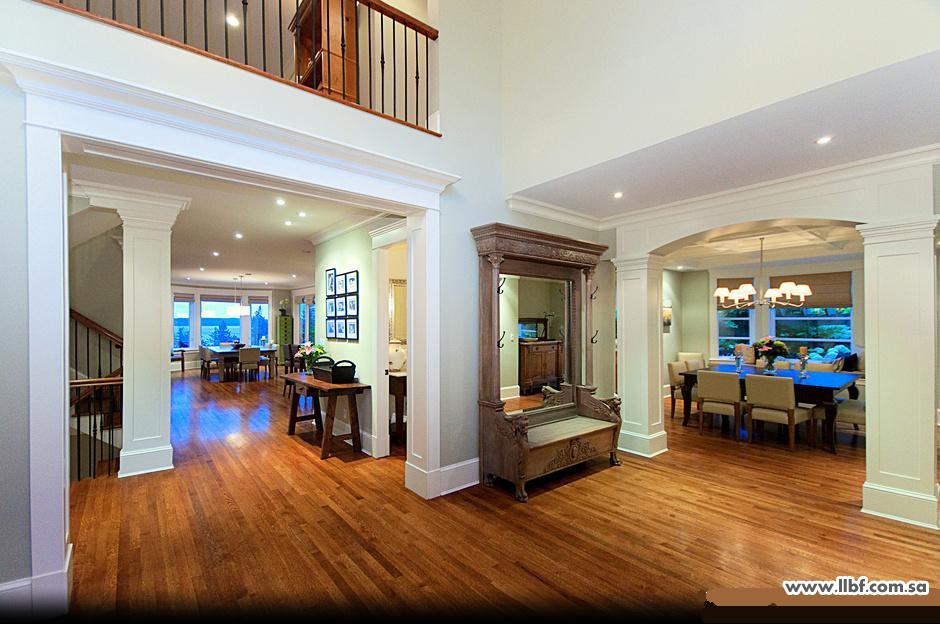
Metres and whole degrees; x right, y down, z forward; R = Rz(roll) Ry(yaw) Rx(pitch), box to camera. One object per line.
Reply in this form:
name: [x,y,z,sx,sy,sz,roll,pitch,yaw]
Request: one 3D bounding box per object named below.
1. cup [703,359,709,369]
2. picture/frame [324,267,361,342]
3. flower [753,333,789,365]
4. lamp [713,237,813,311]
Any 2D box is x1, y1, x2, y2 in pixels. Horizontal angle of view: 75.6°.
cup: [4.278,0.942,10.966,0.086,0.128,0.139,-5,-4,42]
picture/frame: [-1.760,-0.094,8.482,0.056,1.135,1.076,2,-3,-37]
flower: [4.477,0.559,9.040,0.513,0.504,0.507,-1,-2,-22]
lamp: [4.667,-0.551,9.648,1.406,1.172,1.377,-2,1,-16]
